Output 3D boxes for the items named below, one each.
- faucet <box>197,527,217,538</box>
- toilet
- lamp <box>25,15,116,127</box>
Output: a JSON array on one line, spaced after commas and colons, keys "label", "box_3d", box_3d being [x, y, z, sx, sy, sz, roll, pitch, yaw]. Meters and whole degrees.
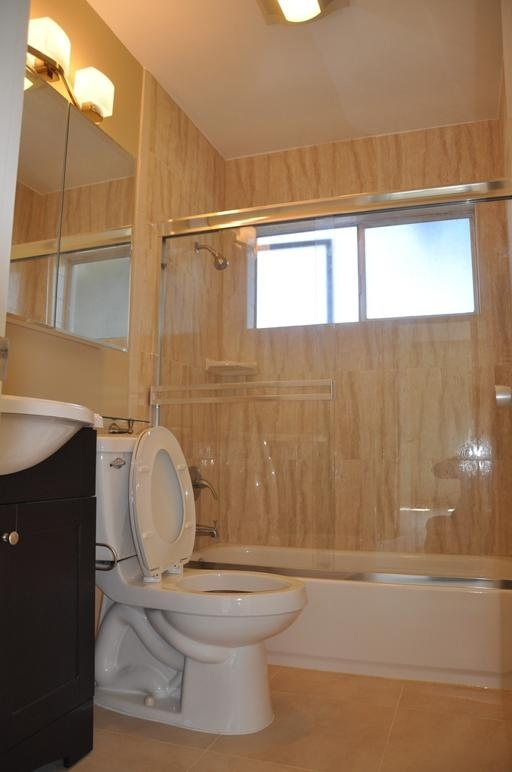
[{"label": "faucet", "box_3d": [-0.201, 0.590, 2.349, 0.116, 0.047, 0.033, 3, -4, -25]}, {"label": "toilet", "box_3d": [-0.187, 0.542, 1.736, 0.584, 0.835, 0.395, -1, -7, 14]}, {"label": "lamp", "box_3d": [-0.629, -1.049, 1.972, 0.090, 0.147, 0.383, 2, -5, 13]}]
